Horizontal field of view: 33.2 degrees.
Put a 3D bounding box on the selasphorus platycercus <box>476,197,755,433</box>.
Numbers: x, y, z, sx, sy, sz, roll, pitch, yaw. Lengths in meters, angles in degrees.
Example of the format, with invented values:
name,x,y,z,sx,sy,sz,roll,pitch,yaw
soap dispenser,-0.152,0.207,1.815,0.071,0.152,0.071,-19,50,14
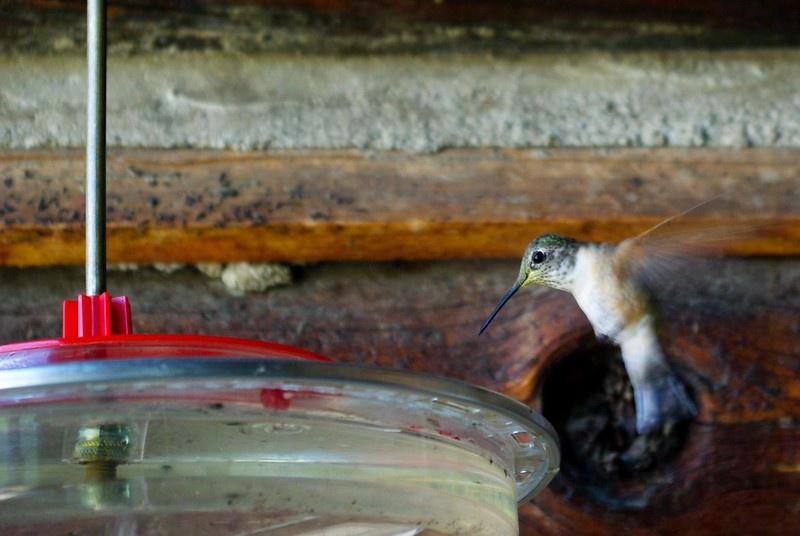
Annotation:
name,x,y,z,sx,sy,sz,roll,pitch,yaw
selasphorus platycercus,0.276,0.034,1.834,0.454,0.204,0.449,-9,15,-37
